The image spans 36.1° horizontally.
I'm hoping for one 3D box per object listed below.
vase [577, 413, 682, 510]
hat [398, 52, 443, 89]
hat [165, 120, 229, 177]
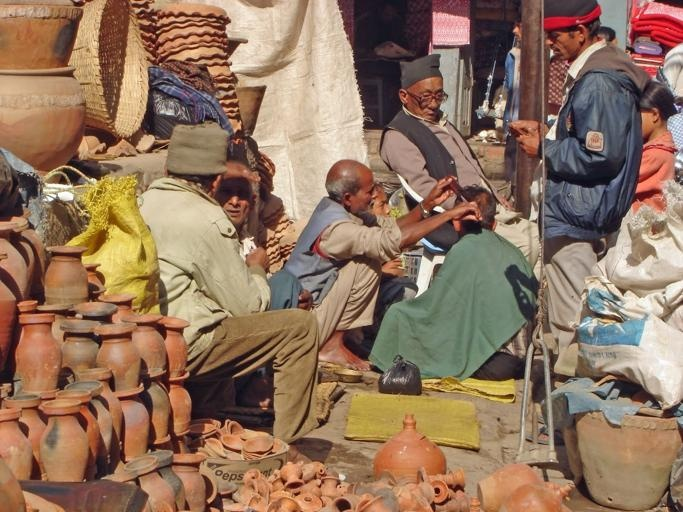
[{"bbox_3d":[1.697,1.190,6.280,0.537,0.470,0.532,2,-1,2],"label":"vase"},{"bbox_3d":[0.671,-1.590,9.054,0.251,0.273,0.333,-10,3,-13],"label":"hat"},{"bbox_3d":[-0.857,-0.640,6.424,0.322,0.327,0.322,5,2,23],"label":"hat"}]
